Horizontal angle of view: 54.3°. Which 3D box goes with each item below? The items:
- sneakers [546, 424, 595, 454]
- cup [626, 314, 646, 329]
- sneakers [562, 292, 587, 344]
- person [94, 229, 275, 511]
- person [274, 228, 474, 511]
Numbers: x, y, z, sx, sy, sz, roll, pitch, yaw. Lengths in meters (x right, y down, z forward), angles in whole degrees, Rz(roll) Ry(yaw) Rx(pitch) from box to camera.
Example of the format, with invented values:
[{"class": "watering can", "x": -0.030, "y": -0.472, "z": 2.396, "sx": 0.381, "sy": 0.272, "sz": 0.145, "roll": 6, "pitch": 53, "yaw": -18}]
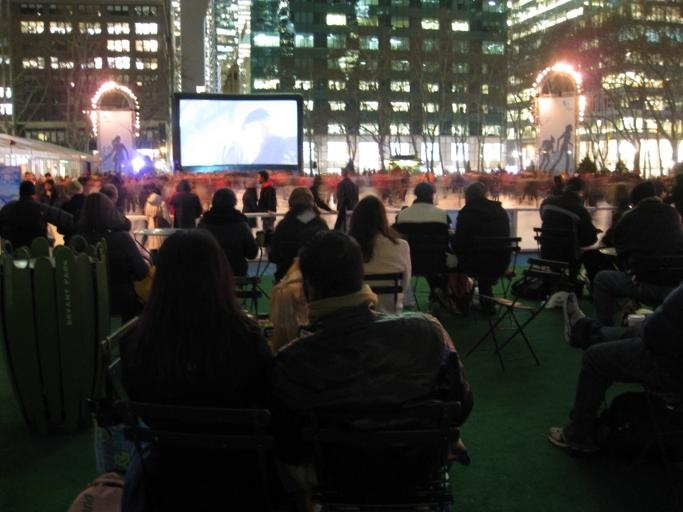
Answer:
[{"class": "sneakers", "x": 1.898, "y": 1.501, "z": 5.486, "sx": 0.332, "sy": 0.164, "sz": 0.139, "roll": 0, "pitch": 8, "yaw": 31}, {"class": "cup", "x": 2.372, "y": 0.525, "z": 5.334, "sx": 0.131, "sy": 0.103, "sz": 0.104, "roll": 1, "pitch": 6, "yaw": 4}, {"class": "sneakers", "x": 1.922, "y": 0.458, "z": 5.526, "sx": 0.149, "sy": 0.505, "sz": 0.196, "roll": -3, "pitch": 11, "yaw": -24}, {"class": "person", "x": -0.835, "y": 0.666, "z": 3.748, "sx": 0.883, "sy": 1.541, "sz": 0.563, "roll": -2, "pitch": 11, "yaw": -9}, {"class": "person", "x": 0.162, "y": 0.406, "z": 3.757, "sx": 1.032, "sy": 0.988, "sz": 0.597, "roll": 0, "pitch": 12, "yaw": 4}]
